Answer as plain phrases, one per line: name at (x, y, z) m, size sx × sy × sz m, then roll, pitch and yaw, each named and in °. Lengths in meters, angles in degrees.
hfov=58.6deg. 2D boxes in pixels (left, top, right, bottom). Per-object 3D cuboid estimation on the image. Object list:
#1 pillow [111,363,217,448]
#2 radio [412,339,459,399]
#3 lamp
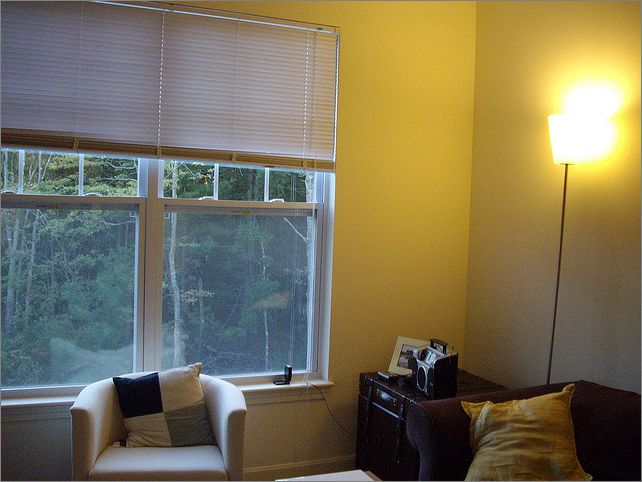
pillow at (-0.972, 1.039, 3.498) m, size 0.542 × 0.443 × 0.444 m, roll 4°, pitch 2°, yaw -10°
radio at (0.742, 0.820, 3.713) m, size 0.195 × 0.333 × 0.305 m, roll -1°, pitch 4°, yaw -14°
lamp at (1.555, 0.075, 3.649) m, size 0.196 × 1.726 × 0.271 m, roll 0°, pitch 3°, yaw 22°
